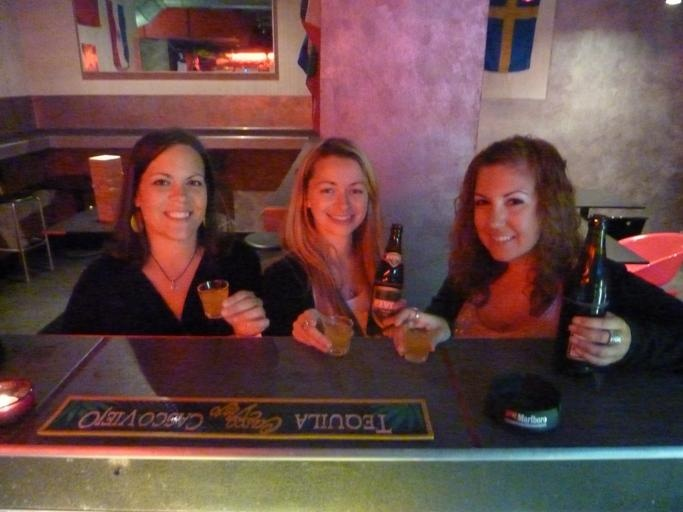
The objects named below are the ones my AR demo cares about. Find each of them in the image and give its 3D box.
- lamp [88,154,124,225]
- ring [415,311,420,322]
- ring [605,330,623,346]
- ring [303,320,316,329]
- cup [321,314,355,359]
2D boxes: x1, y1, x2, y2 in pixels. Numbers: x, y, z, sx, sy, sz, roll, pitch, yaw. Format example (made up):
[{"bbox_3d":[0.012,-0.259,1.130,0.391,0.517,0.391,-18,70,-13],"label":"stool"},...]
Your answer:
[{"bbox_3d":[-0.852,-0.241,1.991,0.114,0.257,0.117,-11,21,-24],"label":"lamp"},{"bbox_3d":[0.265,0.207,1.884,0.008,0.026,0.028,0,-4,20],"label":"ring"},{"bbox_3d":[0.819,0.245,1.624,0.041,0.049,0.053,-1,-8,23],"label":"ring"},{"bbox_3d":[-0.102,0.219,1.729,0.027,0.010,0.025,3,13,-1],"label":"ring"},{"bbox_3d":[-0.009,0.261,1.710,0.113,0.100,0.112,1,0,0],"label":"cup"}]
